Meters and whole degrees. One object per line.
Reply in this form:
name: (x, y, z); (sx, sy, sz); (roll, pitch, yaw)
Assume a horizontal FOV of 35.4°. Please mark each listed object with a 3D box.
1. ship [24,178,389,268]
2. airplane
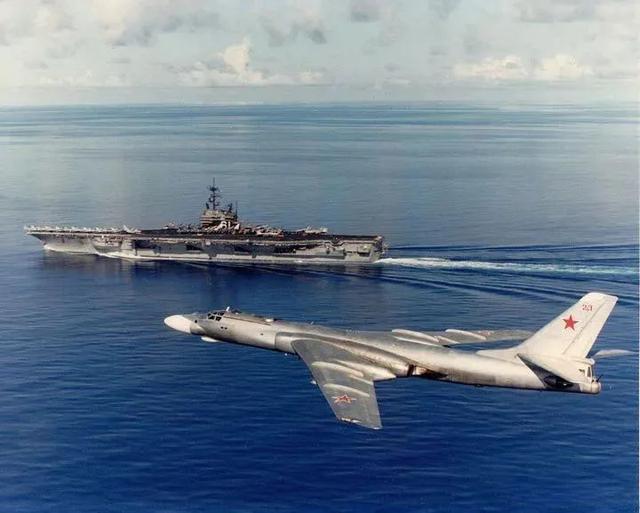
ship: (-19.773, -5.030, 150.918); (64.045, 10.126, 15.772); (2, 11, 11)
airplane: (5.352, 7.239, 99.247); (45.317, 6.718, 30.130); (9, 19, 21)
